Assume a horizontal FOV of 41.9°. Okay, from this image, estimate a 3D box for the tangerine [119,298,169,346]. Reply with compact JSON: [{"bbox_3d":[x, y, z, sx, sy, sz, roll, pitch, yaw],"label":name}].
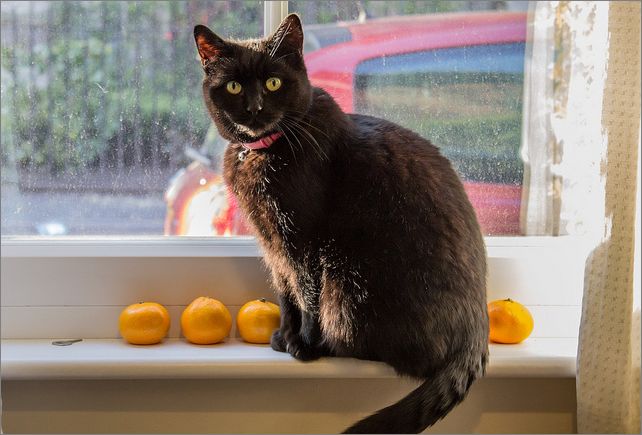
[{"bbox_3d":[-0.473,0.281,2.222,0.108,0.104,0.107,2,-7,-34],"label":"tangerine"}]
